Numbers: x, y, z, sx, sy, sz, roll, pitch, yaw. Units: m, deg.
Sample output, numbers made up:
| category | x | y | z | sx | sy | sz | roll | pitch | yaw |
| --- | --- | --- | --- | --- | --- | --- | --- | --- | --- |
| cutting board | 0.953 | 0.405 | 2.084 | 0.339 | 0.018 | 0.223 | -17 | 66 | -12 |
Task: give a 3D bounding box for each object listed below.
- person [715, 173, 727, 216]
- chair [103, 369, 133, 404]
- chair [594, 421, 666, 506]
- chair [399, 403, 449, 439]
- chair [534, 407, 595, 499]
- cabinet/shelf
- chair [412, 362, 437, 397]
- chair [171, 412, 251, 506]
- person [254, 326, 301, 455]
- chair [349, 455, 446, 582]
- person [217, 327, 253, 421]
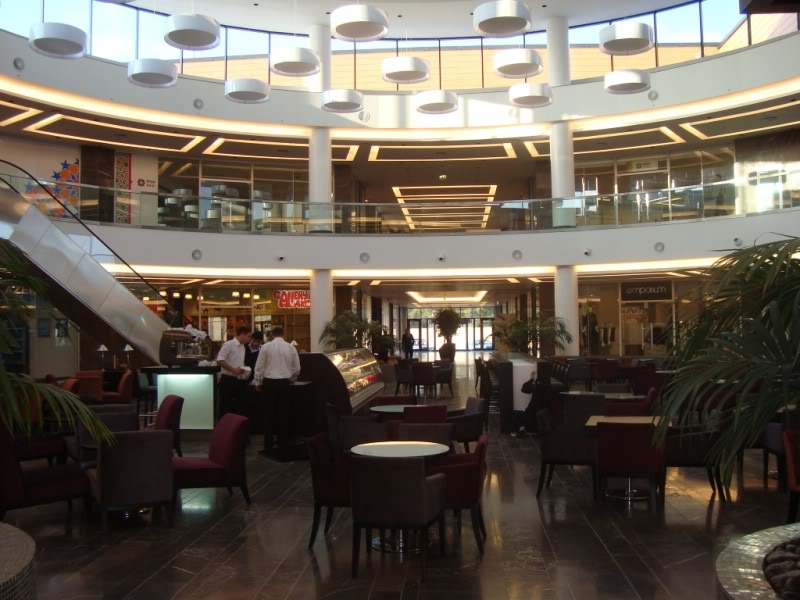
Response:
| category | x | y | z | sx | sy | sz | roll | pitch | yaw |
| --- | --- | --- | --- | --- | --- | --- | --- | --- | --- |
| person | 7.848 | -2.510 | 16.322 | 0.249 | 0.814 | 0.123 | 1 | 2 | 29 |
| chair | -5.479 | 1.716 | 13.105 | 0.683 | 0.598 | 0.633 | 0 | -5 | -14 |
| chair | 2.595 | 1.855 | 7.603 | 0.726 | 0.869 | 0.715 | -2 | -12 | 8 |
| chair | 0.278 | 1.381 | 7.617 | 0.359 | 0.465 | 0.374 | 1 | 1 | 7 |
| chair | 1.854 | 1.899 | 8.511 | 1.051 | 1.300 | 1.002 | -1 | -2 | 8 |
| cabinet/shelf | -1.066 | 1.390 | 12.597 | 0.978 | 0.893 | 2.646 | 1 | 0 | 12 |
| chair | 0.670 | 2.118 | 17.831 | 0.640 | 0.992 | 1.371 | 0 | 1 | 7 |
| chair | -2.096 | 1.826 | 7.825 | 1.094 | 1.026 | 1.049 | 3 | -6 | -15 |
| person | -2.011 | 1.450 | 10.767 | 0.710 | 2.042 | 0.852 | -1 | 2 | -9 |
| chair | 0.040 | 1.856 | 6.008 | 0.986 | 1.173 | 1.025 | 0 | -3 | 14 |
| person | -2.807 | 1.196 | 11.245 | 0.554 | 1.497 | 0.528 | -1 | 2 | -28 |
